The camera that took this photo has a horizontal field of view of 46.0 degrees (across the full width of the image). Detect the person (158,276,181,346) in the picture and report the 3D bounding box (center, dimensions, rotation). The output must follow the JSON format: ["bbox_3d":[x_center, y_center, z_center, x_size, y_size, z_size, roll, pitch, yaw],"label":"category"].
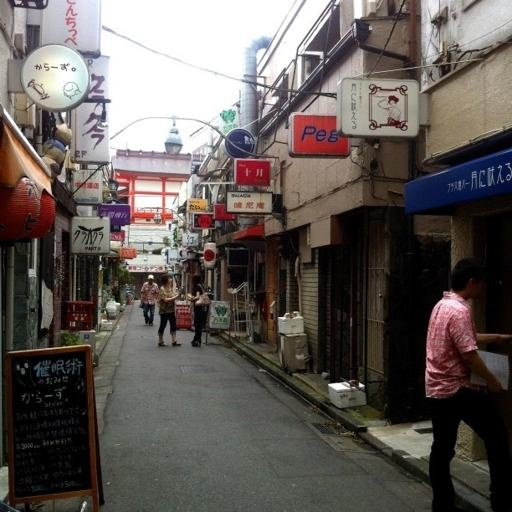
[{"bbox_3d":[-2.492,1.523,17.142,0.615,2.042,1.129,0,-4,-8],"label":"person"}]

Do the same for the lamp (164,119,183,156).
[{"bbox_3d":[-8.892,-12.440,64.285,1.699,3.131,1.168,1,-4,-10],"label":"lamp"}]

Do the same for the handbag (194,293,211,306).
[{"bbox_3d":[-1.604,1.248,17.663,0.393,0.386,0.800,0,-5,-6],"label":"handbag"}]
